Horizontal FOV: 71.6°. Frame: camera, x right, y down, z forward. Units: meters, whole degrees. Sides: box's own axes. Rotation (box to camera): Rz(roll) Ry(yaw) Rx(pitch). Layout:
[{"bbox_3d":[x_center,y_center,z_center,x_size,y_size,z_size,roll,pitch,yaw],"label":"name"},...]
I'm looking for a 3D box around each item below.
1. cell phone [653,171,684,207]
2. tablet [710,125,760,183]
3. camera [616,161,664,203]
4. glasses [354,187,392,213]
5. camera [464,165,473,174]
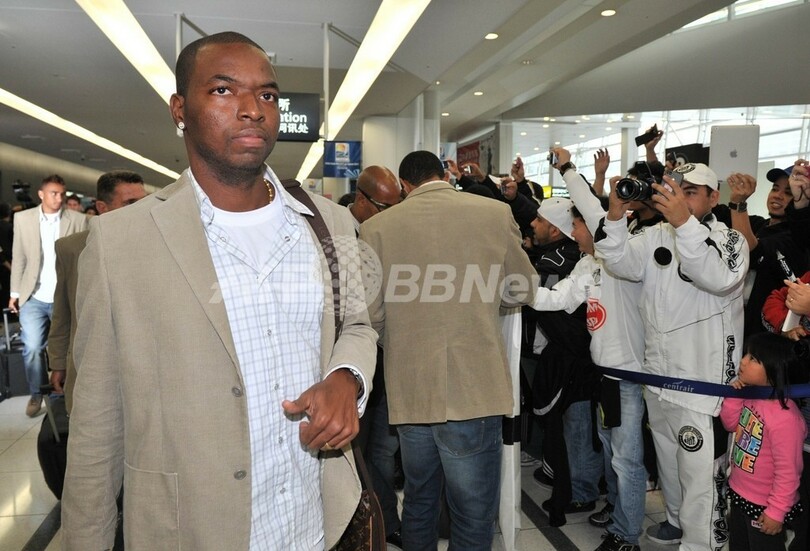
[{"bbox_3d":[1.495,-0.507,3.198,0.083,0.208,0.154,36,-19,-10],"label":"cell phone"},{"bbox_3d":[2.669,-0.999,4.549,0.200,0.515,0.425,1,13,1],"label":"tablet"},{"bbox_3d":[1.325,-0.541,3.224,0.232,0.223,0.265,-1,10,-14],"label":"camera"},{"bbox_3d":[-0.226,-0.531,3.985,0.195,0.058,0.194,4,39,-53],"label":"glasses"},{"bbox_3d":[0.701,-1.179,6.260,0.063,0.131,0.095,-9,15,-38],"label":"camera"}]
